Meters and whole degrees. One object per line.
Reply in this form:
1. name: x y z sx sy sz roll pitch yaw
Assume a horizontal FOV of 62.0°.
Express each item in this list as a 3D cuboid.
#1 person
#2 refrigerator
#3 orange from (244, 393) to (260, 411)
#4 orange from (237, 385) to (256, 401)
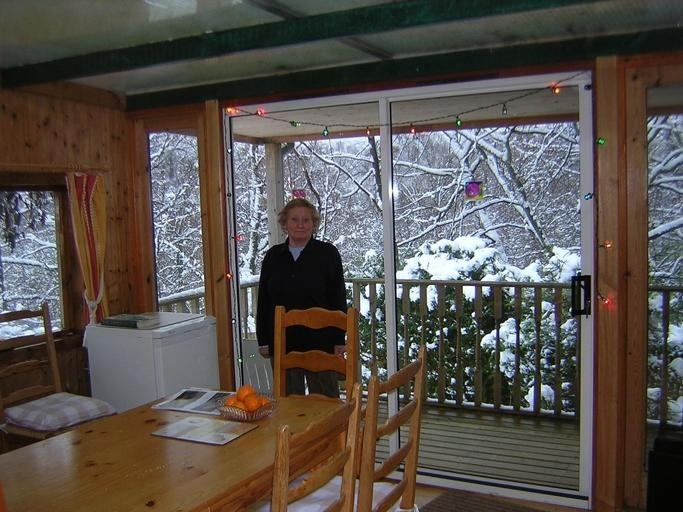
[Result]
1. person: -0.280 0.502 3.948 0.608 1.732 0.413 -1 6 6
2. refrigerator: -1.608 0.818 4.192 0.759 0.663 0.714 5 -1 -31
3. orange: -0.414 0.676 2.628 0.063 0.063 0.035 6 -43 -1
4. orange: -0.455 0.653 2.723 0.061 0.041 0.074 -24 1 0
